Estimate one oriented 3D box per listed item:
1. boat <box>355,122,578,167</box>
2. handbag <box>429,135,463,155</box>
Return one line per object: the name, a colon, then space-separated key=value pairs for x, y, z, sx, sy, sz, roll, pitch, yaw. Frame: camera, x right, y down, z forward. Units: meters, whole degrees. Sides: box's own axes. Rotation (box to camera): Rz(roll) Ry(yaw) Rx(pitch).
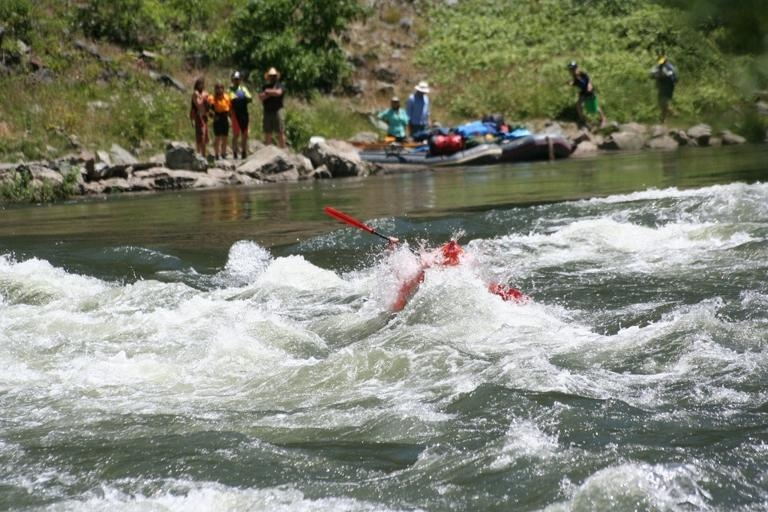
boat: x=2.931 y=-3.148 z=37.295 sx=4.787 sy=0.760 sz=2.233 roll=-4 pitch=-1 yaw=-27
handbag: x=1.847 y=-3.299 z=37.041 sx=1.025 sy=0.551 sz=0.479 roll=-3 pitch=-30 yaw=-17
